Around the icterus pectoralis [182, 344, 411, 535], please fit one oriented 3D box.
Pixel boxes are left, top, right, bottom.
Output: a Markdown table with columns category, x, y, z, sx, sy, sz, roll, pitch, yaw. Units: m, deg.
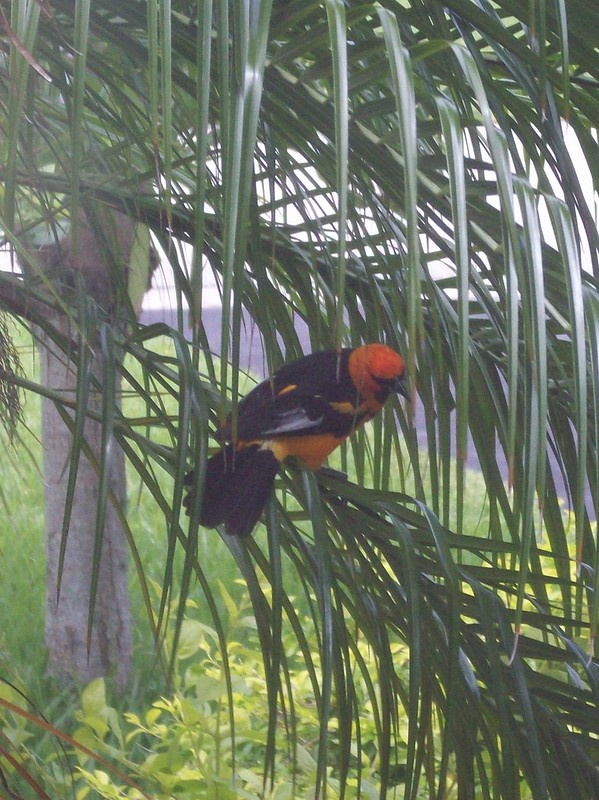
| category | x | y | z | sx | sy | sz | roll | pitch | yaw |
| --- | --- | --- | --- | --- | --- | --- | --- | --- | --- |
| icterus pectoralis | -0.002 | 0.006 | 1.368 | 0.122 | 0.186 | 0.312 | 21 | 34 | 41 |
